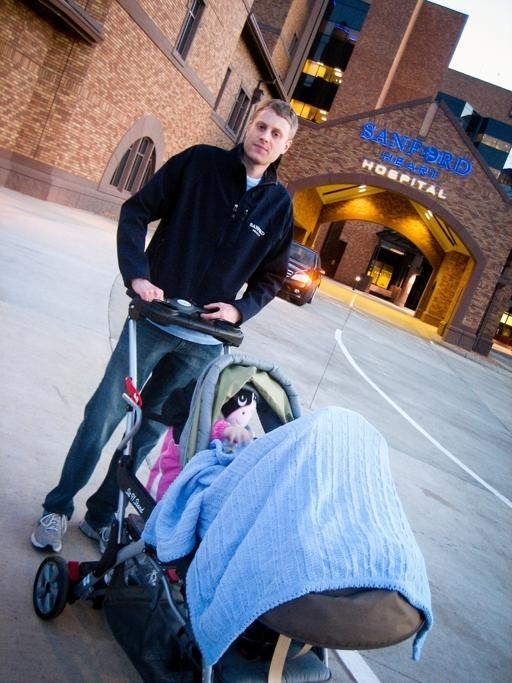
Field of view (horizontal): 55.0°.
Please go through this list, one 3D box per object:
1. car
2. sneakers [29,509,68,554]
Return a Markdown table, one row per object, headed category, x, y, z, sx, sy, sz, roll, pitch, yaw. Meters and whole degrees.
| category | x | y | z | sx | sy | sz | roll | pitch | yaw |
| --- | --- | --- | --- | --- | --- | --- | --- | --- | --- |
| car | 1.451 | -2.229 | 15.792 | 1.564 | 1.435 | 3.296 | 13 | 6 | 9 |
| sneakers | -0.890 | 0.827 | 2.130 | 0.085 | 0.092 | 0.213 | 26 | -8 | -16 |
